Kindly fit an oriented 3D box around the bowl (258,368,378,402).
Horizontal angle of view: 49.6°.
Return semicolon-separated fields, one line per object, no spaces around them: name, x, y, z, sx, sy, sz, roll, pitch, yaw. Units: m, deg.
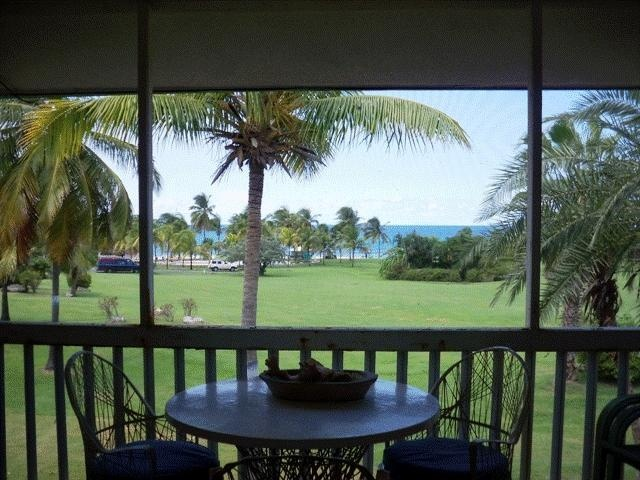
bowl;-0.010;0.944;4.515;0.771;0.191;0.233;2;-2;-2

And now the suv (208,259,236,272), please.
suv;-7.717;1.997;55.693;1.946;0.959;1.027;-4;-1;2

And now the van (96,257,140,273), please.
van;-14.225;1.646;48.579;2.575;0.916;0.967;2;-1;2
